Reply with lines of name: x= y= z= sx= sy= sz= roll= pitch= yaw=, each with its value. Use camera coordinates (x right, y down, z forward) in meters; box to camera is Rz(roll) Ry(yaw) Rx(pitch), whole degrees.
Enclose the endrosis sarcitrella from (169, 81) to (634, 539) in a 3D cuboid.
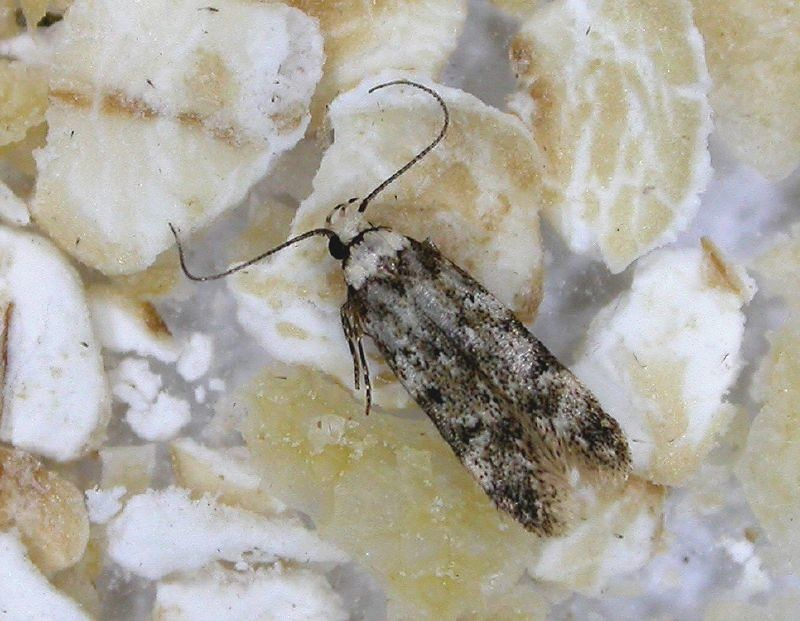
endrosis sarcitrella: x=0.197 y=0.051 z=7.652 sx=1.962 sy=0.686 sz=2.783 roll=-37 pitch=87 yaw=-5
